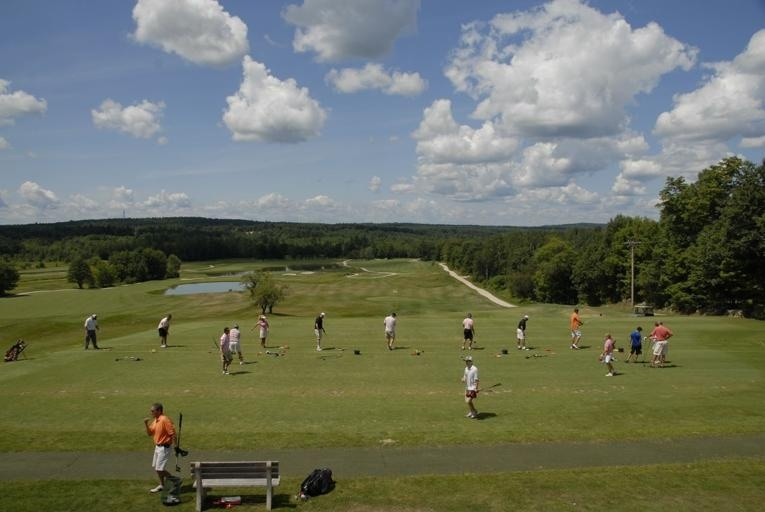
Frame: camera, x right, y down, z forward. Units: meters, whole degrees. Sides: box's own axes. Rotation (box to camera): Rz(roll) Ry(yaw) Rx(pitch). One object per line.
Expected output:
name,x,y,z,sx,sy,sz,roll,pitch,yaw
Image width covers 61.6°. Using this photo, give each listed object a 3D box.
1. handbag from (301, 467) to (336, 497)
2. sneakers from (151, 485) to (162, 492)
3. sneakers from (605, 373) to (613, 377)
handbag,-3.382,11.983,33.639,1.678,0.635,1.214,-8,14,-43
sneakers,-11.860,12.263,33.572,0.595,0.229,0.238,3,-14,-18
sneakers,15.674,8.225,44.130,0.624,0.237,0.211,6,-9,-27
